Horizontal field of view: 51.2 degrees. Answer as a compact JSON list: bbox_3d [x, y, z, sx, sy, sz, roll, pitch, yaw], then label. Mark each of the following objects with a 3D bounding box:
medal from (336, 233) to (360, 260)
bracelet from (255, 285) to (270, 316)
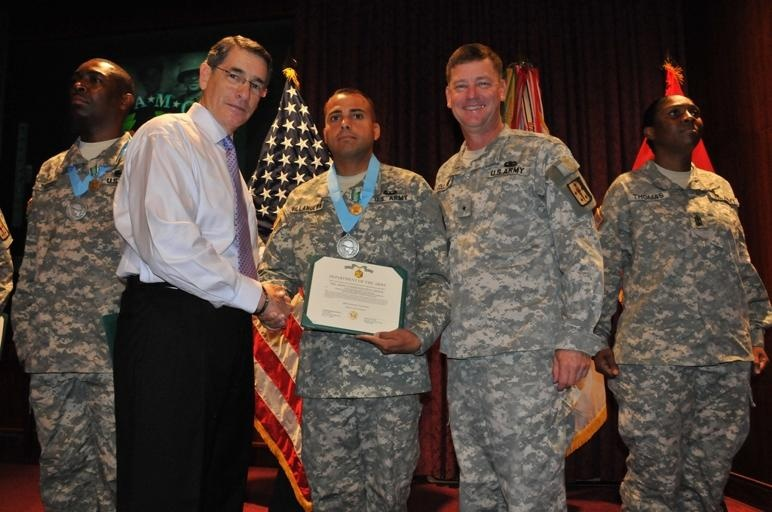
[{"bbox_3d":[-0.228,-0.060,4.464,0.122,0.120,0.040,5,-2,13],"label":"medal"},{"bbox_3d":[-0.629,0.227,4.131,0.038,0.120,0.124,29,15,-16],"label":"bracelet"}]
